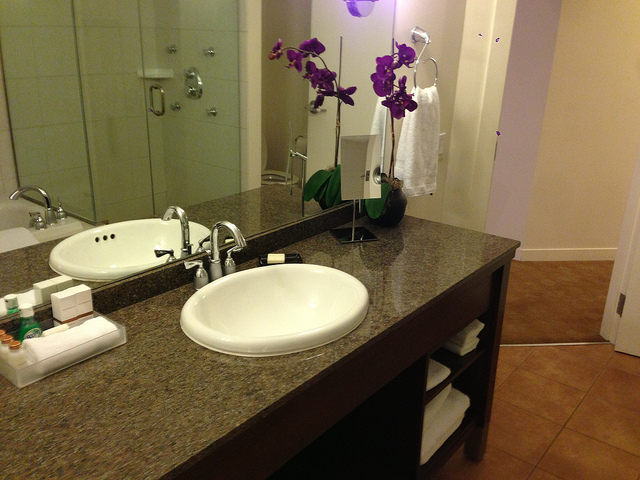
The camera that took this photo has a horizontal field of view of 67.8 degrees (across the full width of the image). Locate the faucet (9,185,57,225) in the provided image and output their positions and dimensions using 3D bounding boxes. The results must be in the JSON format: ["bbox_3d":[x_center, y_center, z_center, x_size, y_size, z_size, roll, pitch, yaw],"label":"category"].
[{"bbox_3d":[-0.758,-0.095,1.258,0.099,0.133,0.032,-9,50,-29],"label":"faucet"}]

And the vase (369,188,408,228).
[{"bbox_3d":[0.286,-0.129,2.030,0.145,0.165,0.164,-1,34,2],"label":"vase"}]

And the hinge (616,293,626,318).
[{"bbox_3d":[1.764,0.370,2.789,0.023,0.098,0.101,12,8,28],"label":"hinge"}]

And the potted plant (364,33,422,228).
[{"bbox_3d":[0.328,-0.516,2.164,0.252,0.763,0.751,4,25,10],"label":"potted plant"}]

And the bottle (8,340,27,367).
[{"bbox_3d":[-0.693,0.259,1.086,0.033,0.062,0.032,2,26,-1],"label":"bottle"}]

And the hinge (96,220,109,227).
[{"bbox_3d":[-0.638,-0.051,1.395,0.006,0.013,0.037,19,30,36],"label":"hinge"}]
